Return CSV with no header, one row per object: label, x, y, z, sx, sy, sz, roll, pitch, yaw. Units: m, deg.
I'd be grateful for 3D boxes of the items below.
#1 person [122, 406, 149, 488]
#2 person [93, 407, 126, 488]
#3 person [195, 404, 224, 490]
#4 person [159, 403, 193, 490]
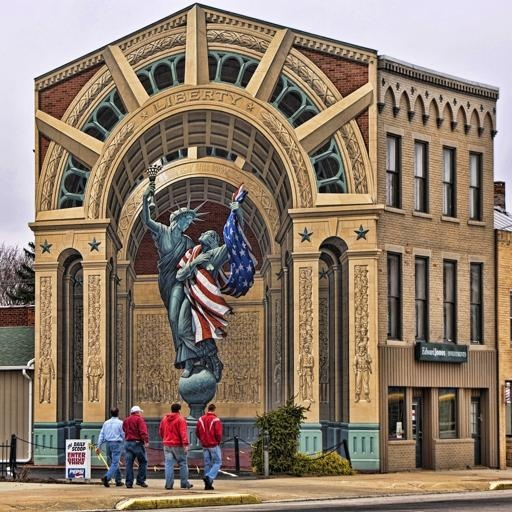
person,-3.079,4.958,41.257,0.747,2.042,0.689,-5,-10,31
person,-3.762,4.932,41.190,0.730,2.001,0.859,2,-6,-18
person,-1.168,4.814,40.613,0.665,1.932,0.937,0,-10,1
person,-2.080,4.797,40.229,0.740,2.084,1.190,0,-15,-3
